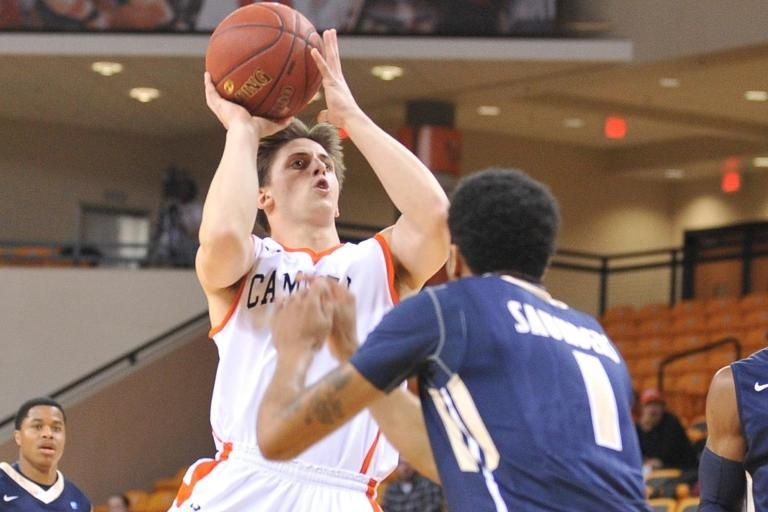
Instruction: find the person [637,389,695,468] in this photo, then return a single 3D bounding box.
[{"bbox_3d":[3.329,2.122,15.330,0.717,1.218,0.532,-1,-13,-13],"label":"person"}]
